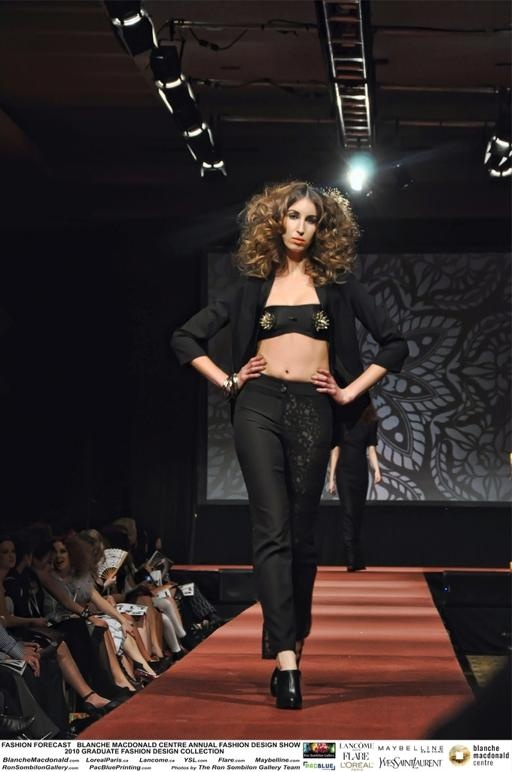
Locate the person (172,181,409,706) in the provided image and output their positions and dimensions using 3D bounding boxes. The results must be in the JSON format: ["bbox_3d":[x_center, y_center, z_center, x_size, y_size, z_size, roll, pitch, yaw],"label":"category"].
[{"bbox_3d":[0.134,0.099,1.973,0.583,1.477,0.665,-3,8,-37],"label":"person"}]

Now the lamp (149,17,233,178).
[{"bbox_3d":[-0.238,-1.140,2.665,0.174,0.186,0.718,-5,-36,13],"label":"lamp"}]

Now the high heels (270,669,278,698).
[{"bbox_3d":[0.050,0.822,1.744,0.036,0.041,0.101,2,-2,4],"label":"high heels"}]

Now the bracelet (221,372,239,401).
[{"bbox_3d":[-0.079,-0.003,1.885,0.037,0.069,0.029,13,15,32],"label":"bracelet"}]

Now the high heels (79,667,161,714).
[{"bbox_3d":[-0.417,0.921,1.921,0.060,0.078,0.196,-14,-4,36],"label":"high heels"}]

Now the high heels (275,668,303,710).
[{"bbox_3d":[0.085,0.797,1.658,0.052,0.063,0.147,1,-6,2],"label":"high heels"}]
